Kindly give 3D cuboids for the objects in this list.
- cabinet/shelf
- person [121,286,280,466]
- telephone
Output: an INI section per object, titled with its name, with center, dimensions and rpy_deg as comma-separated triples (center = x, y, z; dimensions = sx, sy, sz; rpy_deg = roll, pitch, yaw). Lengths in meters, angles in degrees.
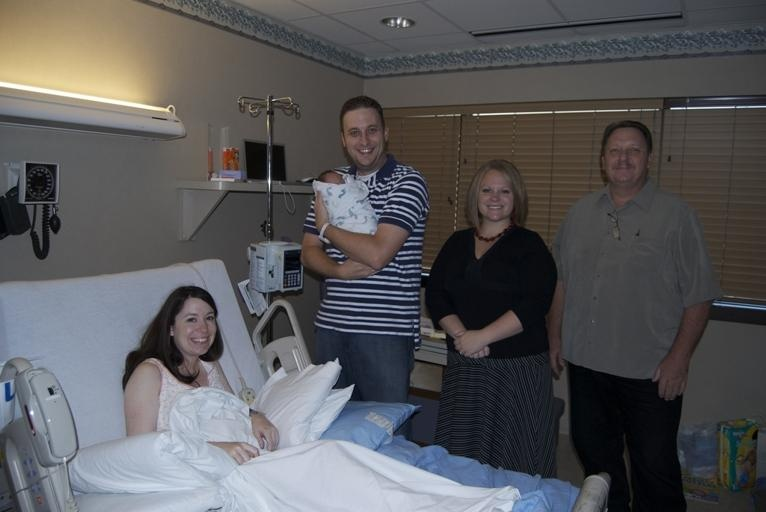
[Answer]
[cabinet/shelf]
center = -1.028, -0.342, 3.929
dimensions = 0.551, 0.437, 0.834
rpy_deg = 6, 10, 32
[person]
center = -0.880, 0.642, 2.582
dimensions = 0.821, 0.851, 0.579
rpy_deg = 4, 6, 24
[telephone]
center = -1.268, 0.613, 1.987
dimensions = 0.107, 0.380, 0.187
rpy_deg = -20, -6, 38
